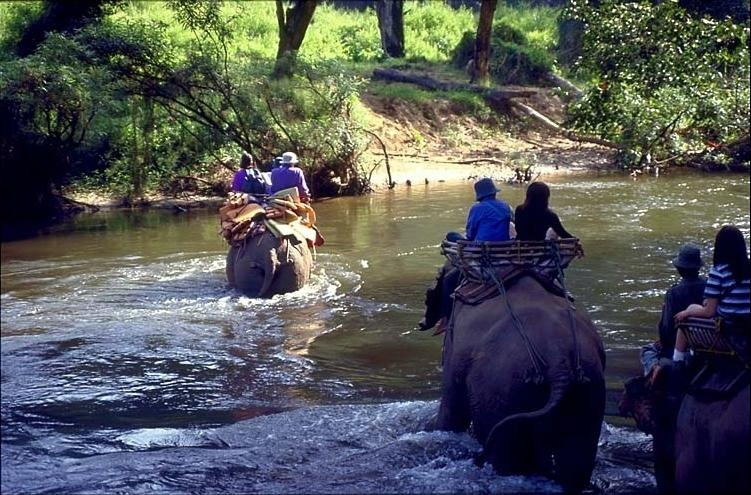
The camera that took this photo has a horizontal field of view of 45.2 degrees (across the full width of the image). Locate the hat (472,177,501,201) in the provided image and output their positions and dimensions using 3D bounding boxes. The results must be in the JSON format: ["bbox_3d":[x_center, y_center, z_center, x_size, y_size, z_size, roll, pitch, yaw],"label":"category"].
[{"bbox_3d":[1.894,-0.998,15.448,0.404,0.374,0.444,-1,6,5],"label":"hat"}]

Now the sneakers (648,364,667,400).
[{"bbox_3d":[4.300,2.055,13.819,0.228,0.453,0.249,4,5,9],"label":"sneakers"}]

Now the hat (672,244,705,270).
[{"bbox_3d":[4.902,0.163,14.184,0.452,0.204,0.463,1,6,1],"label":"hat"}]

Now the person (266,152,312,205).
[{"bbox_3d":[-1.947,-1.543,20.145,0.831,1.110,0.637,-2,7,-3],"label":"person"}]

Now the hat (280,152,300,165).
[{"bbox_3d":[-1.941,-1.983,20.165,0.354,0.127,0.398,2,9,2],"label":"hat"}]

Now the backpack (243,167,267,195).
[{"bbox_3d":[-2.607,-1.437,19.573,0.554,0.543,0.268,-3,7,-18],"label":"backpack"}]
